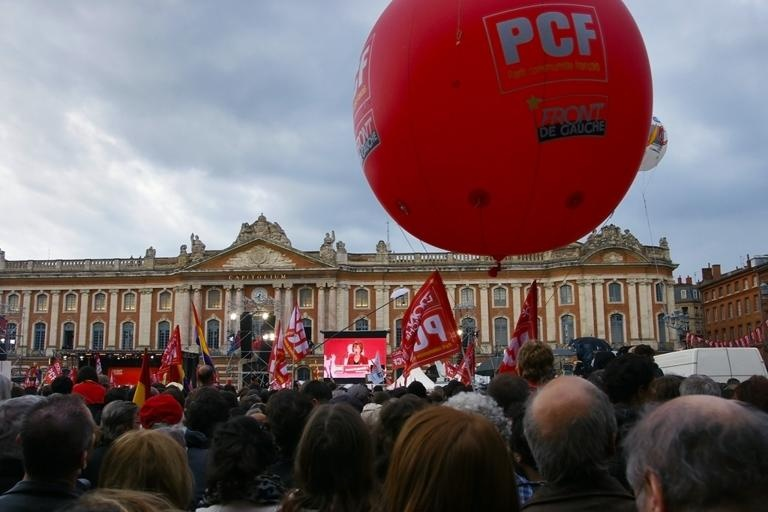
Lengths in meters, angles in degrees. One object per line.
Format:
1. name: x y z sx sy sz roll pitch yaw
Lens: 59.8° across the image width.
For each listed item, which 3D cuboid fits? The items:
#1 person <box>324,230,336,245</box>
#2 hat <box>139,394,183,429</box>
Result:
1. person: -3.428 -1.043 42.018 0.758 1.259 0.440 -2 -16 0
2. hat: -2.485 1.710 7.404 0.420 0.231 0.302 8 13 41
